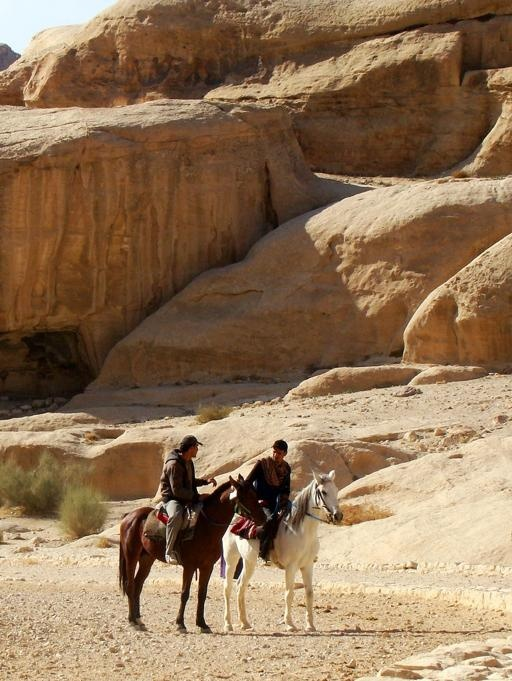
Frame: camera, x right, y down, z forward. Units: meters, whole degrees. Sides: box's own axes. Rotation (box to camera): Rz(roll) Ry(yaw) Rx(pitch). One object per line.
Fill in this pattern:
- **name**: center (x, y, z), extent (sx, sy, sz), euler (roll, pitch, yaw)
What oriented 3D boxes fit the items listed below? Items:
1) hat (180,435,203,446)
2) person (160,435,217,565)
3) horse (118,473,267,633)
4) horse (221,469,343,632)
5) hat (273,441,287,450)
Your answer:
- **hat**: center (-0.676, 1.016, 16.836), extent (0.170, 0.103, 0.111), euler (0, 6, -24)
- **person**: center (-0.757, 1.609, 16.873), extent (0.484, 1.232, 0.486), euler (-1, 0, -4)
- **horse**: center (-0.719, 2.211, 16.912), extent (1.844, 1.551, 0.528), euler (-3, -6, 34)
- **horse**: center (0.225, 2.229, 17.076), extent (0.593, 1.536, 1.947), euler (10, -15, -39)
- **hat**: center (0.230, 1.063, 16.977), extent (0.111, 0.058, 0.084), euler (17, 2, 18)
